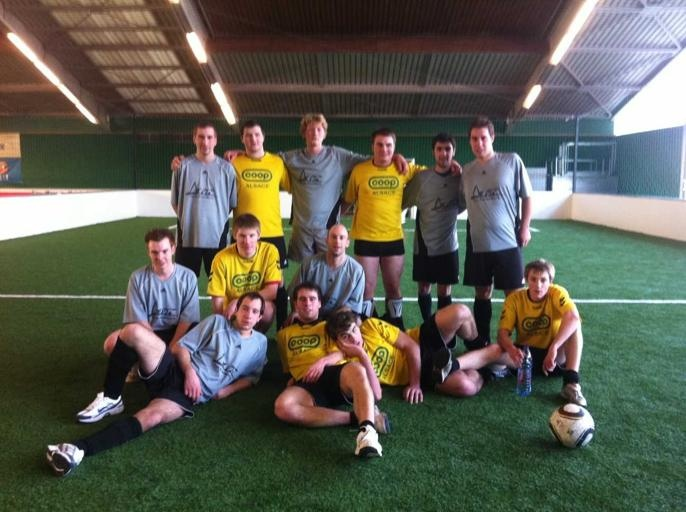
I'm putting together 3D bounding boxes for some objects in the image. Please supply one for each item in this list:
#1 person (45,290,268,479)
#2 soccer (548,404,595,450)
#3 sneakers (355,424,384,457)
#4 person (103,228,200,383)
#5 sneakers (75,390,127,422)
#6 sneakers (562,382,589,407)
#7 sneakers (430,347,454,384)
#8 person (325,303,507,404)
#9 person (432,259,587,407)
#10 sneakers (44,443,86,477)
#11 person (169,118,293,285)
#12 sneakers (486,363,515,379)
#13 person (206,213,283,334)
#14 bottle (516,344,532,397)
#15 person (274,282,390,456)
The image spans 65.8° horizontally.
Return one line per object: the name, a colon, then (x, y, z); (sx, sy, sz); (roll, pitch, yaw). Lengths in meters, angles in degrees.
person: (-1.264, 0.732, 3.556); (0.655, 0.813, 1.767); (18, 13, 25)
soccer: (1.459, 1.078, 3.381); (0.238, 0.275, 0.251); (-15, -22, 39)
sneakers: (0.161, 1.146, 3.353); (0.174, 0.190, 0.263); (-1, 7, 1)
person: (-1.377, 0.327, 4.014); (0.723, 1.022, 0.609); (-1, 7, -26)
sneakers: (-1.656, 1.026, 3.734); (0.124, 0.218, 0.382); (3, 3, 37)
sneakers: (1.669, 0.983, 3.817); (0.164, 0.139, 0.226); (0, 8, 9)
sneakers: (0.711, 0.768, 3.814); (0.134, 0.263, 0.098); (8, -17, 43)
person: (0.583, 0.695, 4.070); (1.392, 0.621, 0.797); (-4, 13, 8)
person: (1.345, 0.538, 4.060); (0.922, 1.028, 1.118); (0, -5, 26)
sneakers: (-1.658, 1.199, 3.178); (0.105, 0.141, 0.227); (-3, 6, -42)
person: (-0.900, -0.326, 5.008); (0.865, 1.845, 0.516); (-4, 16, -3)
sneakers: (1.215, 0.890, 4.137); (0.144, 0.081, 0.205); (0, 0, 1)
person: (-0.825, 0.228, 4.406); (0.634, 1.120, 0.608); (-7, 23, -27)
bottle: (1.383, 0.851, 4.044); (0.115, 0.319, 0.347); (1, 8, 19)
person: (-0.118, 0.691, 3.705); (0.676, 1.005, 1.403); (2, 2, -29)
